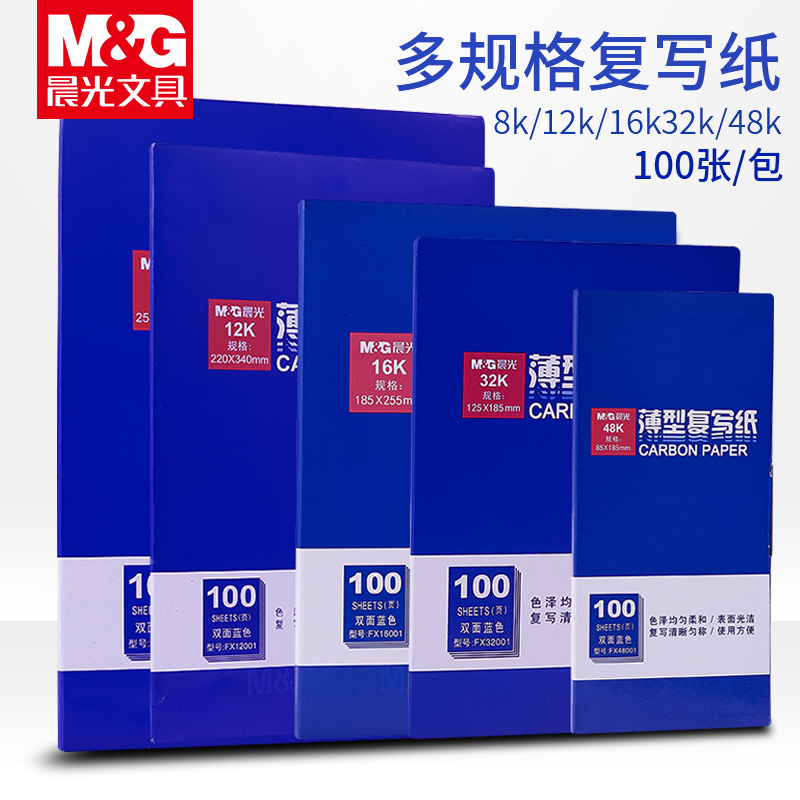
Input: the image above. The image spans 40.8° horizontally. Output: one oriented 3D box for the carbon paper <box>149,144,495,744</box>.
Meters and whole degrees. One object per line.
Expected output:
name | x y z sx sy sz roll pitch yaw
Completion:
carbon paper | -0.130 0.065 1.492 0.417 0.773 0.051 5 -7 -30
